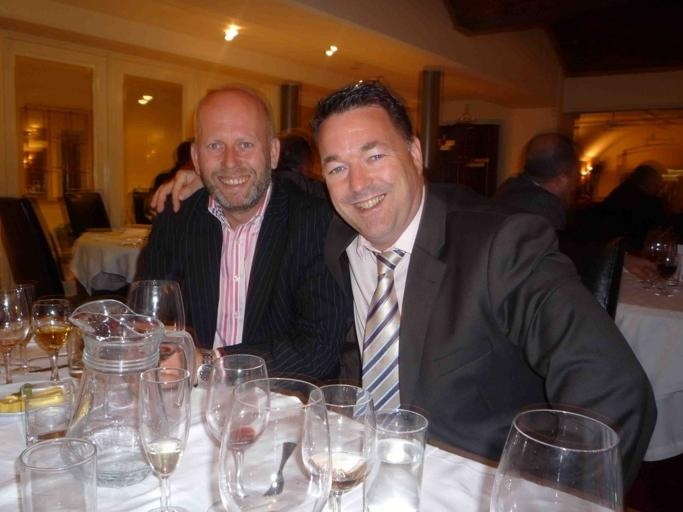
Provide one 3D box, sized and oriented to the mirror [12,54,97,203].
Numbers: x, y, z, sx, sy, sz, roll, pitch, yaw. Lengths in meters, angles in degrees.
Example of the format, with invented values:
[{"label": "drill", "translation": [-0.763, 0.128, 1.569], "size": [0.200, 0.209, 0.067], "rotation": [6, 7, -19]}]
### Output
[{"label": "mirror", "translation": [-3.090, -1.363, 5.835], "size": [0.094, 1.428, 0.815], "rotation": [10, 13, 36]}]
